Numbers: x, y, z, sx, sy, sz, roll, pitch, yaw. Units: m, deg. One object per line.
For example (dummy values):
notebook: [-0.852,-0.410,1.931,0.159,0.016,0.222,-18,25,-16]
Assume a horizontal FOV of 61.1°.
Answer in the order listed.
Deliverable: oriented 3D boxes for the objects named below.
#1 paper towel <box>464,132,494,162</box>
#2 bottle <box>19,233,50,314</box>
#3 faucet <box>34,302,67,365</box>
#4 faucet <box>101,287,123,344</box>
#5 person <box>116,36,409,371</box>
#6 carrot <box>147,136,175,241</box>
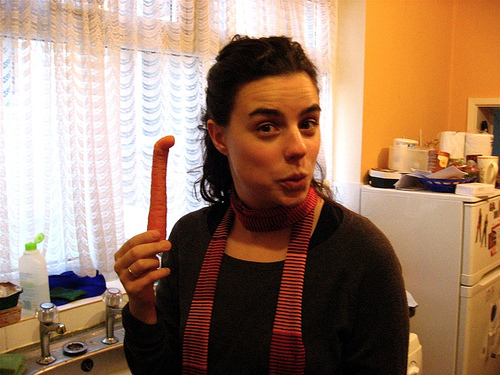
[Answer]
paper towel: [1.514,-0.281,2.818,0.151,0.179,0.155,1,1,2]
bottle: [-0.936,0.371,1.830,0.118,0.336,0.093,-3,5,-25]
faucet: [-0.825,0.583,1.741,0.103,0.250,0.234,-4,5,-29]
faucet: [-0.620,0.550,1.886,0.093,0.242,0.195,-3,5,-21]
person: [0.032,0.057,1.315,0.838,1.020,0.372,-1,5,7]
carrot: [-0.266,0.001,1.238,0.078,0.304,0.067,-5,6,-41]
